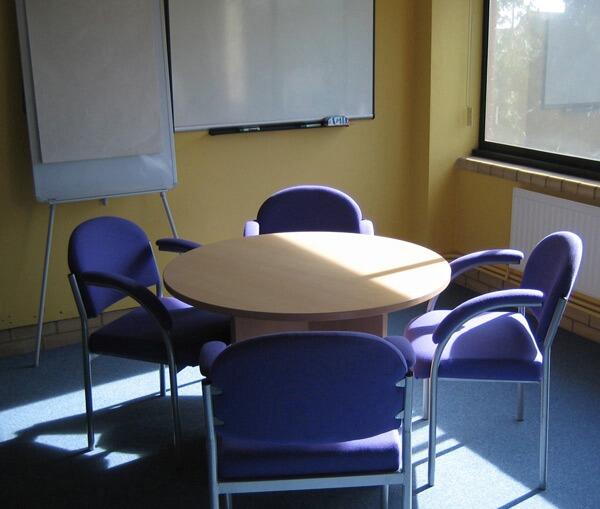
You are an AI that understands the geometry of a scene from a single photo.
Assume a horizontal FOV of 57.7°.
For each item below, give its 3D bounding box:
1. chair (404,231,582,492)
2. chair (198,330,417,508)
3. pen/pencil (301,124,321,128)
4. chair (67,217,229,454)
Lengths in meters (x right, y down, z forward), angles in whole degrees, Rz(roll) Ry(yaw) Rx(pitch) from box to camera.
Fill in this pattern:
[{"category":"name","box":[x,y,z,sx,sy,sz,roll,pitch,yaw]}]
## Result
[{"category":"chair","box":[0.808,0.370,2.360,0.560,1.012,0.704,2,13,15]},{"category":"chair","box":[0.021,0.365,1.712,0.527,0.816,0.521,-1,27,-1]},{"category":"pen/pencil","box":[0.069,-0.907,3.810,0.184,0.031,0.026,-2,7,-26]},{"category":"chair","box":[-0.689,0.313,2.574,0.601,1.032,0.671,6,13,20]}]
